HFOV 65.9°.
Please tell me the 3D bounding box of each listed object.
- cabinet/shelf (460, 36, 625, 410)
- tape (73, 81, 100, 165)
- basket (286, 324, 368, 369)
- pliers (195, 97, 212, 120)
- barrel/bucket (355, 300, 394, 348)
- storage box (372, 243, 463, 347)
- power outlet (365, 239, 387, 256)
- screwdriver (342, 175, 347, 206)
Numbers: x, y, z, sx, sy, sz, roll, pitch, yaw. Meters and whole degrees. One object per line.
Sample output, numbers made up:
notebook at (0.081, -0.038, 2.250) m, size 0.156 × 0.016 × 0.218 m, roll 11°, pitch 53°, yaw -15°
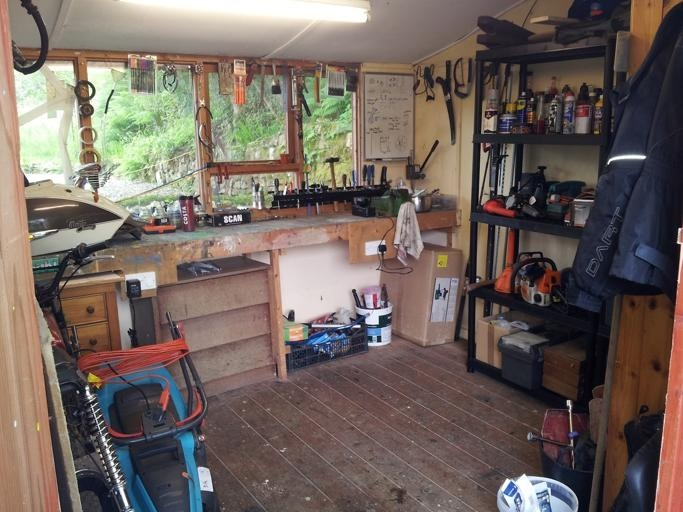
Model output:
cabinet/shelf at (1.364, -0.388, 3.887) m, size 0.730 × 2.905 × 1.565 m, roll -6°, pitch 11°, yaw -27°
tape at (-1.853, -0.955, 3.886) m, size 0.075 × 0.622 × 0.269 m, roll -4°, pitch 16°, yaw -38°
basket at (-0.109, 0.762, 4.506) m, size 0.710 × 0.280 × 0.098 m, roll -12°, pitch 17°, yaw -27°
pliers at (-1.138, -1.220, 4.318) m, size 0.169 × 0.229 × 0.062 m, roll -6°, pitch 8°, yaw -33°
barrel/bucket at (0.320, 0.638, 4.889) m, size 0.308 × 0.347 × 0.309 m, roll -3°, pitch 4°, yaw 0°
storage box at (0.709, 0.361, 4.819) m, size 0.470 × 0.881 × 0.686 m, roll -7°, pitch 16°, yaw -38°
power outlet at (0.263, -0.078, 4.444) m, size 0.167 × 0.118 × 0.039 m, roll -8°, pitch 14°, yaw -24°
screwdriver at (0.026, -0.616, 4.771) m, size 0.037 × 0.242 × 0.036 m, roll 1°, pitch -10°, yaw 8°
